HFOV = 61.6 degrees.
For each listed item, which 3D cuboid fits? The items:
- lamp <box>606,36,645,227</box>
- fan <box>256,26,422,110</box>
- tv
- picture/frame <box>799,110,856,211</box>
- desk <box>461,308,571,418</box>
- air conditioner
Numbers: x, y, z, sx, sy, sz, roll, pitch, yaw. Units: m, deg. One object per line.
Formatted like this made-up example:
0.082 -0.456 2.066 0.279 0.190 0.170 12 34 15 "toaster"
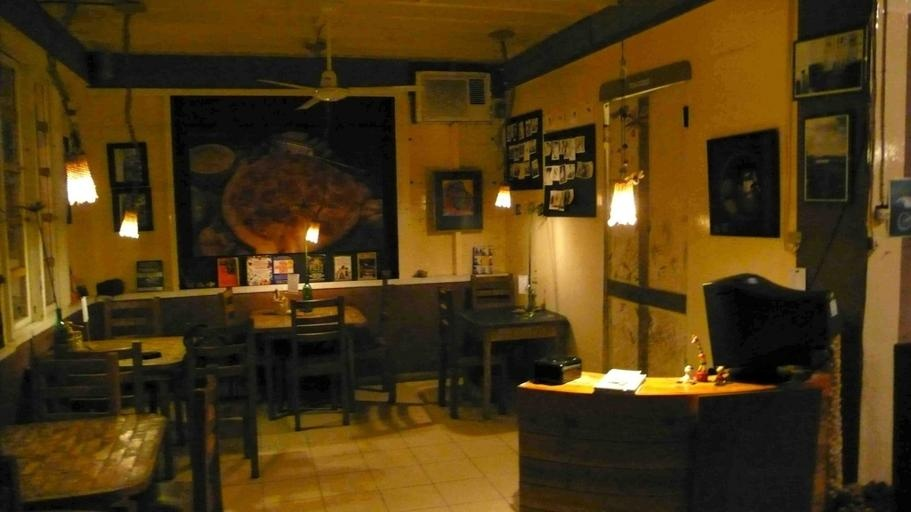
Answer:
1.838 -1.370 8.284 0.424 1.420 1.387 -2 1 11 "lamp"
-1.548 -2.361 8.872 1.689 1.160 1.397 -3 18 -19 "fan"
2.815 0.635 7.304 1.170 0.930 1.035 -4 -1 -3 "tv"
3.441 -0.893 7.065 0.392 0.790 0.068 -2 1 36 "picture/frame"
0.704 1.370 9.563 1.475 1.175 1.349 -1 4 -14 "desk"
0.174 -2.263 10.807 1.285 0.708 0.765 7 17 31 "air conditioner"
